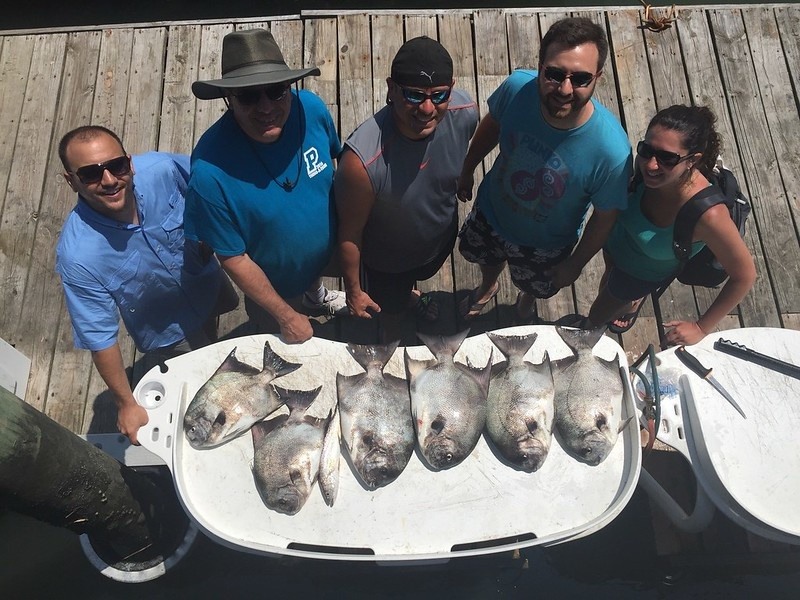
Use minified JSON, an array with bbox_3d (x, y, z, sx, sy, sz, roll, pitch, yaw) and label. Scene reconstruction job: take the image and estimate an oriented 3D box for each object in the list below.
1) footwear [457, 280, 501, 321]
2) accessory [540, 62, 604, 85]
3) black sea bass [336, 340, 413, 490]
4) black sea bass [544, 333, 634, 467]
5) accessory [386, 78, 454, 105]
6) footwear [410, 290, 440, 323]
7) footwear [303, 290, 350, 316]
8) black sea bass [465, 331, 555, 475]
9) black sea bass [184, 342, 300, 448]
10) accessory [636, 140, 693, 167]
[{"bbox_3d":[0.654,0.018,6.208,0.205,0.445,0.105,49,25,16],"label":"footwear"},{"bbox_3d":[1.057,-1.393,4.593,0.309,0.072,0.099,7,53,5],"label":"accessory"},{"bbox_3d":[-0.154,0.753,4.949,0.475,0.140,1.071,-4,59,-9],"label":"black sea bass"},{"bbox_3d":[1.283,0.619,4.998,0.533,0.116,1.048,-10,57,19],"label":"black sea bass"},{"bbox_3d":[0.142,-1.279,4.588,0.338,0.113,0.124,1,52,1],"label":"accessory"},{"bbox_3d":[0.214,0.052,6.155,0.154,0.105,0.324,-36,87,0],"label":"footwear"},{"bbox_3d":[-0.605,0.019,6.090,0.354,0.163,0.208,-2,85,-2],"label":"footwear"},{"bbox_3d":[0.737,0.686,4.888,0.525,0.183,1.317,-2,70,6],"label":"black sea bass"},{"bbox_3d":[-1.109,0.666,4.928,0.512,0.225,0.702,43,71,12],"label":"black sea bass"},{"bbox_3d":[1.719,-0.927,4.765,0.347,0.123,0.131,20,55,15],"label":"accessory"}]
